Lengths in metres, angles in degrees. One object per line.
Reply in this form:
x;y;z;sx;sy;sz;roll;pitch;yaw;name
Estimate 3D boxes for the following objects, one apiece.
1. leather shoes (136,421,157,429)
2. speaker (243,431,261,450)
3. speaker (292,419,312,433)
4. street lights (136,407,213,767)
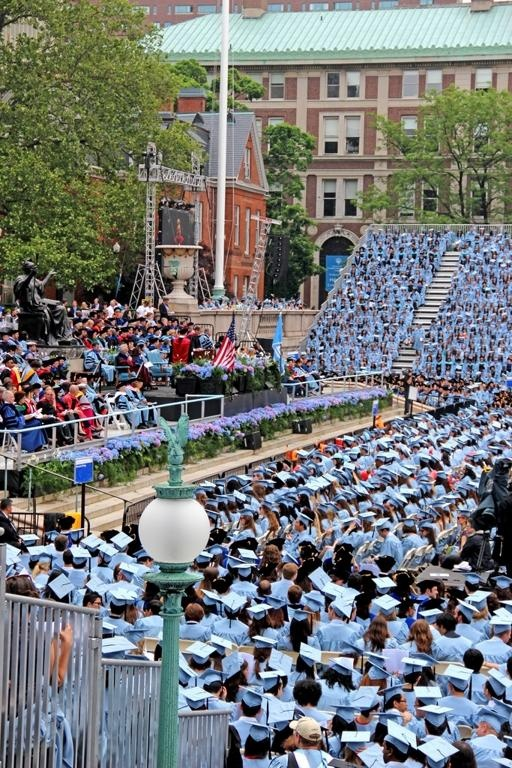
-1.822;0.712;24.566;0.354;0.154;0.112;5;-4;-23;leather shoes
-0.057;1.097;27.852;0.264;0.397;0.383;-1;1;25;speaker
0.973;0.928;31.288;0.300;0.253;0.319;0;-1;7;speaker
-0.498;1.291;8.908;0.411;2.187;0.672;-1;1;-4;street lights
